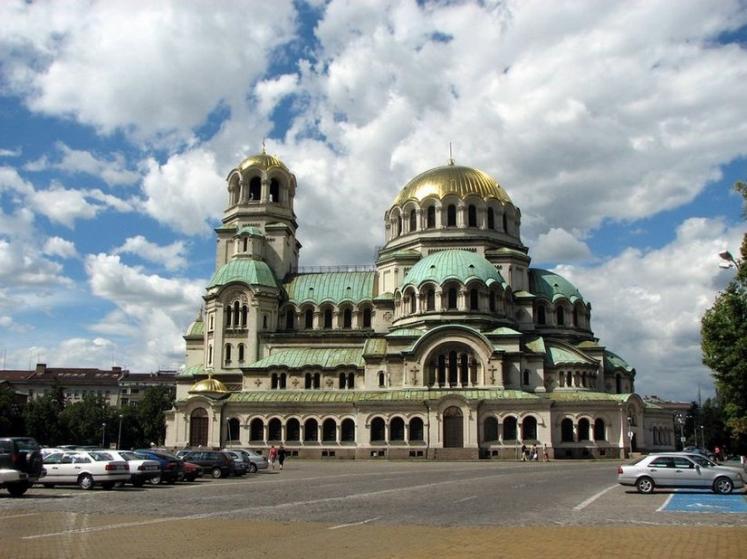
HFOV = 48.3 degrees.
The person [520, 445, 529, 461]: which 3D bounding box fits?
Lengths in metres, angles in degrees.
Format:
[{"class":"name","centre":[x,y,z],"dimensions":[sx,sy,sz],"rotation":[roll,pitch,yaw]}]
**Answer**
[{"class":"person","centre":[12.801,14.448,70.416],"dimensions":[0.723,1.515,2.220],"rotation":[-5,-16,9]}]
